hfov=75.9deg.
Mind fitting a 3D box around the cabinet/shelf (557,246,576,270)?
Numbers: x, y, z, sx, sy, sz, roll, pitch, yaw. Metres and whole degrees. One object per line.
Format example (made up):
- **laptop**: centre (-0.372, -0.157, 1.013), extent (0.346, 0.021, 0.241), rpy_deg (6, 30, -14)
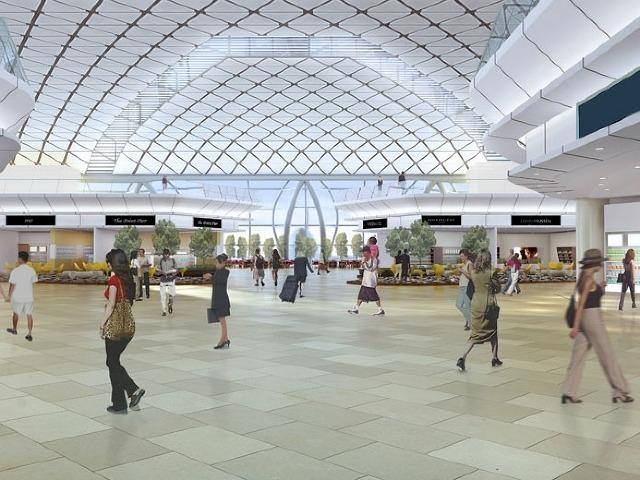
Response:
- **cabinet/shelf**: centre (27.676, 2.142, 46.503), extent (1.001, 2.516, 2.856), rpy_deg (2, -4, -16)
